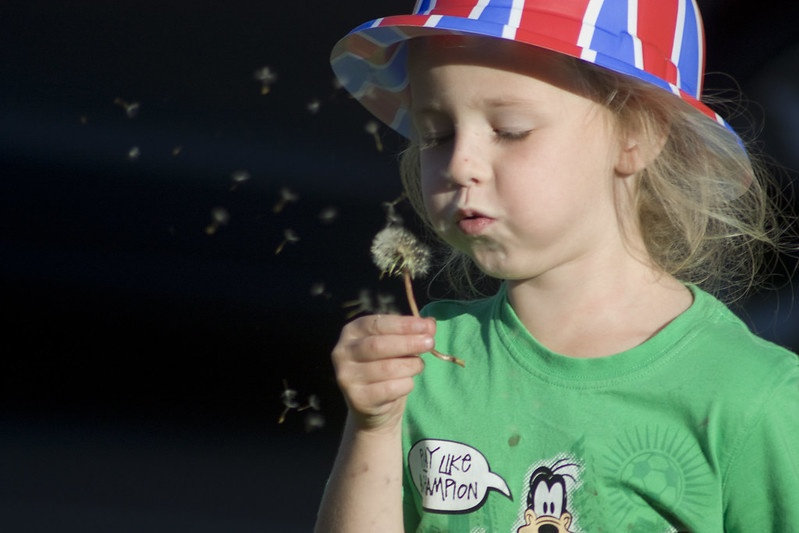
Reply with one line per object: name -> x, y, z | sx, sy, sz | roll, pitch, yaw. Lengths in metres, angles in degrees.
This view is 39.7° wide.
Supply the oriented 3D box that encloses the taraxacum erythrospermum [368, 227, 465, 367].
taraxacum erythrospermum -> 0.082, 0.117, 4.386 | 0.258, 0.587, 0.205 | -24, -8, -4
